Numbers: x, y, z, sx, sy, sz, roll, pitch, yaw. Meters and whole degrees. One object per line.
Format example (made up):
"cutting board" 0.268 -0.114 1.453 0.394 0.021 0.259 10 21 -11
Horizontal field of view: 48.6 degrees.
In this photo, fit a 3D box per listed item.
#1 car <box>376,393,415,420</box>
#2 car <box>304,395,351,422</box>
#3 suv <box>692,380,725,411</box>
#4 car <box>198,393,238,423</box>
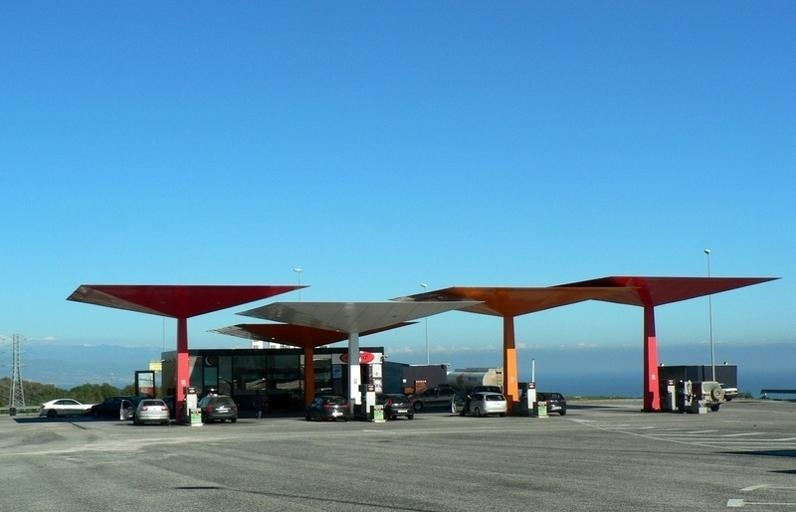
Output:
"car" -0.149 7.706 45.494 1.151 0.773 1.803 0 -1 -15
"car" -3.565 7.744 44.848 1.264 1.242 2.154 9 -16 -43
"suv" 16.564 7.494 46.950 1.529 1.107 2.258 1 1 -6
"car" -8.902 7.603 44.007 1.854 1.427 1.317 -4 -12 5
